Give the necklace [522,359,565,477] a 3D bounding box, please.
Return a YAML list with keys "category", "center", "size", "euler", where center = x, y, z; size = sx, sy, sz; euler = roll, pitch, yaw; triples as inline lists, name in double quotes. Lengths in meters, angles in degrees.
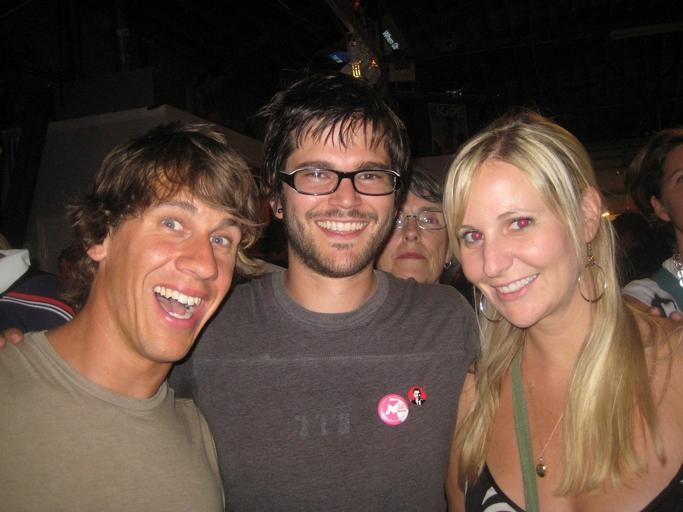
- category: "necklace"
  center: [1.143, 0.989, 3.245]
  size: [0.104, 0.132, 0.471]
  euler: [31, 41, -8]
